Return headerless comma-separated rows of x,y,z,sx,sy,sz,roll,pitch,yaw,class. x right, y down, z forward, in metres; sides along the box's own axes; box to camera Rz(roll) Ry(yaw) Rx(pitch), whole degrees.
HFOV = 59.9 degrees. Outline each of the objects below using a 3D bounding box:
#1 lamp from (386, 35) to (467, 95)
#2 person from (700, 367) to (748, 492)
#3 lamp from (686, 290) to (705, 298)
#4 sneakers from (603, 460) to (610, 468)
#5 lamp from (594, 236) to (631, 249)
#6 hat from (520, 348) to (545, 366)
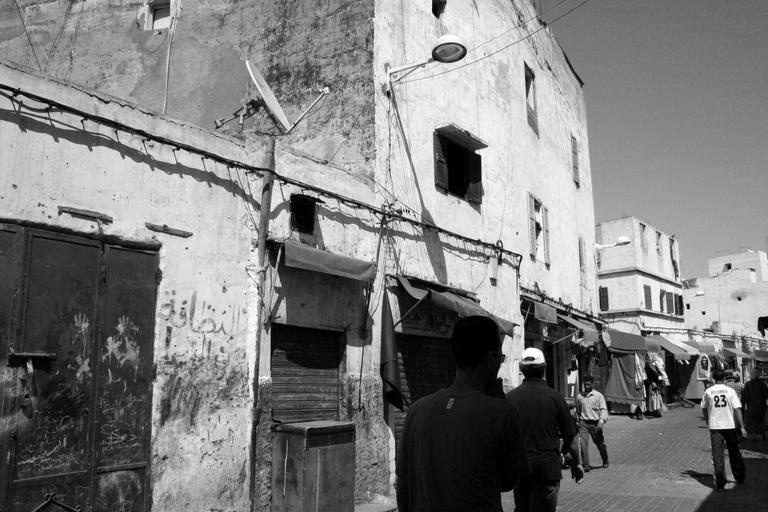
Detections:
0.916,-3.900,13.495,1.824,0.807,0.981,-15,-30,42,lamp
6.813,3.445,13.343,0.677,2.271,1.018,-8,-16,26,person
27.003,3.230,58.221,1.170,0.827,1.183,3,-6,-30,lamp
5.069,4.773,15.227,0.088,0.158,0.162,-5,-37,10,sneakers
13.466,-0.834,39.074,1.977,0.904,1.160,-1,-1,-1,lamp
2.090,1.406,9.391,0.302,0.288,0.249,-5,-1,-6,hat
